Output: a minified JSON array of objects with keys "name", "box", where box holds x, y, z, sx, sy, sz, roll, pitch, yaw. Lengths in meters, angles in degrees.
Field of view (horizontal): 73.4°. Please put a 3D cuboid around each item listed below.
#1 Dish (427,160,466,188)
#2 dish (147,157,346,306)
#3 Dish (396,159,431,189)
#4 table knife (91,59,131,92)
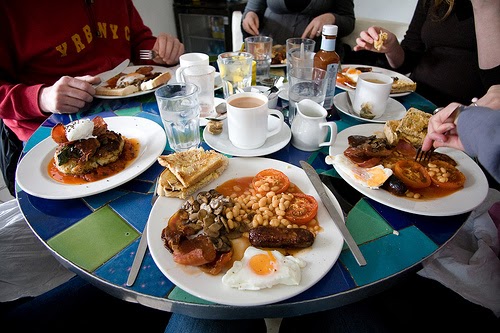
[{"name":"Dish","box":[1.171,0.055,1.995,0.150,0.069,0.171,-6,34,-8]},{"name":"dish","box":[-0.024,0.347,1.832,0.986,0.191,0.837,-23,47,-21]},{"name":"Dish","box":[0.979,0.045,2.018,0.170,0.072,0.170,-8,40,-12]},{"name":"table knife","box":[-1.192,-0.811,2.913,0.117,0.063,0.530,36,48,9]}]
